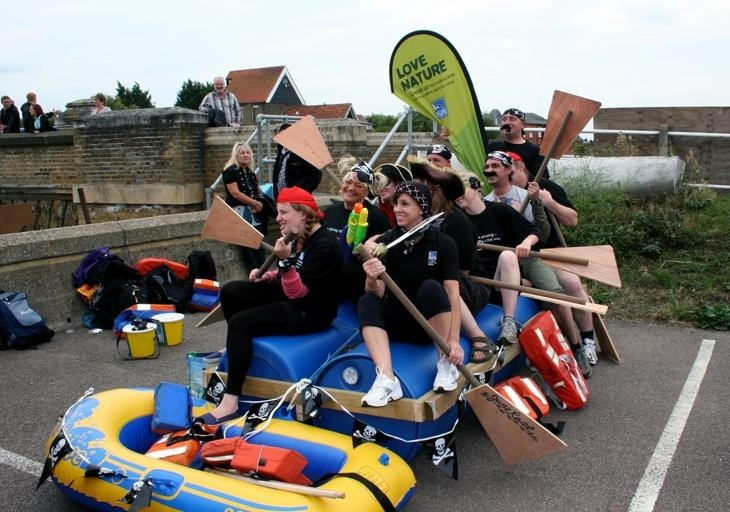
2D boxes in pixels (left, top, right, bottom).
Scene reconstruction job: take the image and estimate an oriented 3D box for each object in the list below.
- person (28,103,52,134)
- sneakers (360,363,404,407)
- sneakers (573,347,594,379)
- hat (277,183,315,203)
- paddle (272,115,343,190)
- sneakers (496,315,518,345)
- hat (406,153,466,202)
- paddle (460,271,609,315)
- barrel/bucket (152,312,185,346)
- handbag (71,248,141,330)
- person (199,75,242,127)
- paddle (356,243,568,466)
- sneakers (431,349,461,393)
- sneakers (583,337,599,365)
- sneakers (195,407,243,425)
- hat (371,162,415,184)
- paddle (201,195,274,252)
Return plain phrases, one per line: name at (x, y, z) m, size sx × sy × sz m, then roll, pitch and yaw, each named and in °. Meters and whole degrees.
person at (-9.011, -3.867, 15.850) m, size 0.481 × 0.772 × 1.285 m, roll -8°, pitch 15°, yaw -30°
sneakers at (0.109, 0.905, 3.916) m, size 0.140 × 0.240 × 0.359 m, roll -5°, pitch -1°, yaw 39°
sneakers at (2.200, 1.089, 5.848) m, size 0.131 × 0.382 × 0.158 m, roll -18°, pitch -24°, yaw 13°
hat at (-0.513, -0.465, 4.395) m, size 0.231 × 0.101 × 0.161 m, roll 1°, pitch 0°, yaw -43°
paddle at (-0.449, -0.959, 5.950) m, size 0.112 × 0.870 × 0.424 m, roll -39°, pitch -1°, yaw -37°
sneakers at (1.255, 0.662, 4.941) m, size 0.123 × 0.135 × 0.300 m, roll -1°, pitch 6°, yaw 13°
hat at (0.603, -0.653, 4.841) m, size 0.414 × 0.147 × 0.329 m, roll 23°, pitch -3°, yaw 39°
paddle at (1.515, 0.346, 5.281) m, size 1.430 × 0.194 × 0.067 m, roll 12°, pitch 40°, yaw 13°
barrel/bucket at (-2.247, 0.866, 6.504) m, size 0.346 × 0.286 × 0.376 m, roll -4°, pitch 0°, yaw 0°
handbag at (-3.190, 0.384, 6.960) m, size 0.823 × 0.966 × 0.385 m, roll 1°, pitch 5°, yaw -6°
person at (-3.186, -3.203, 12.583) m, size 0.599 × 1.399 × 0.815 m, roll 13°, pitch 32°, yaw 21°
paddle at (0.715, 0.804, 4.404) m, size 0.534 × 2.091 × 0.083 m, roll -41°, pitch -13°, yaw 8°
sneakers at (0.603, 0.834, 4.166) m, size 0.173 × 0.211 × 0.469 m, roll 5°, pitch 14°, yaw 16°
sneakers at (2.318, 0.959, 5.929) m, size 0.121 × 0.355 × 0.142 m, roll -11°, pitch -33°, yaw 19°
sneakers at (-1.104, 1.200, 4.241) m, size 0.273 × 0.073 × 0.105 m, roll 8°, pitch -14°, yaw -41°
hat at (0.252, -0.786, 5.350) m, size 0.299 × 0.096 × 0.224 m, roll 23°, pitch 10°, yaw 12°
paddle at (-1.244, -0.281, 5.386) m, size 0.644 × 0.164 × 0.752 m, roll -32°, pitch -26°, yaw 9°
